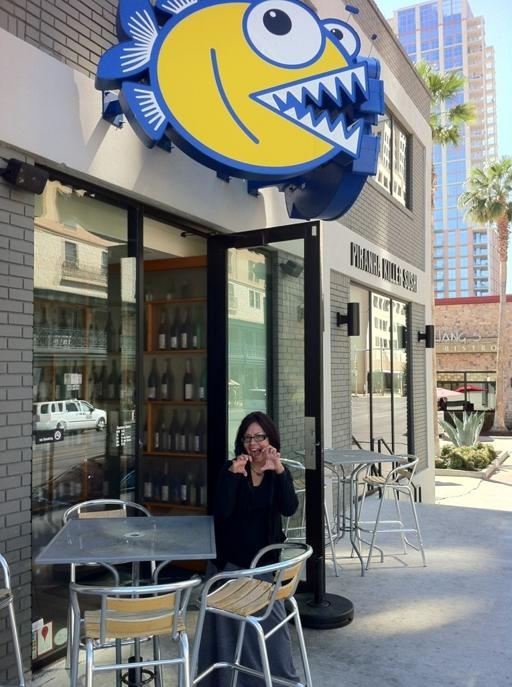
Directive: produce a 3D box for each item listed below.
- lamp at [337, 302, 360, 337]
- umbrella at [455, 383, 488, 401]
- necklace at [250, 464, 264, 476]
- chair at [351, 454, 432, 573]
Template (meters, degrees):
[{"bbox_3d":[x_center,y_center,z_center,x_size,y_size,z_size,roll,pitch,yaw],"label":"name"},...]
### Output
[{"bbox_3d":[1.114,-0.296,7.671,0.236,0.374,0.283,0,-3,23],"label":"lamp"},{"bbox_3d":[9.070,2.008,26.903,1.284,0.586,1.181,1,-3,23],"label":"umbrella"},{"bbox_3d":[0.006,0.675,3.402,0.047,0.056,0.070,1,-7,-2],"label":"necklace"},{"bbox_3d":[1.271,1.590,6.097,0.539,1.006,0.553,2,-4,-5],"label":"chair"}]
